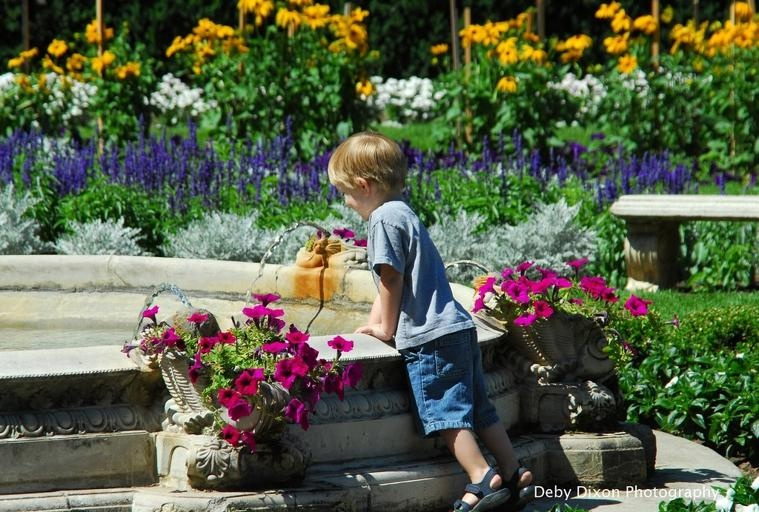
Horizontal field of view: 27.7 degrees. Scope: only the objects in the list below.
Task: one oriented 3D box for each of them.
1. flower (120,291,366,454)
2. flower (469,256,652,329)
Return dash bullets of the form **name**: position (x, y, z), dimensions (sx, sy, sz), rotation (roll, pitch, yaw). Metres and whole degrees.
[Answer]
- **flower**: position (-1.031, 0.852, 11.528), dimensions (1.226, 0.950, 1.328), rotation (7, 2, 42)
- **flower**: position (1.408, 0.328, 12.456), dimensions (0.813, 0.388, 0.855), rotation (13, 16, 28)
